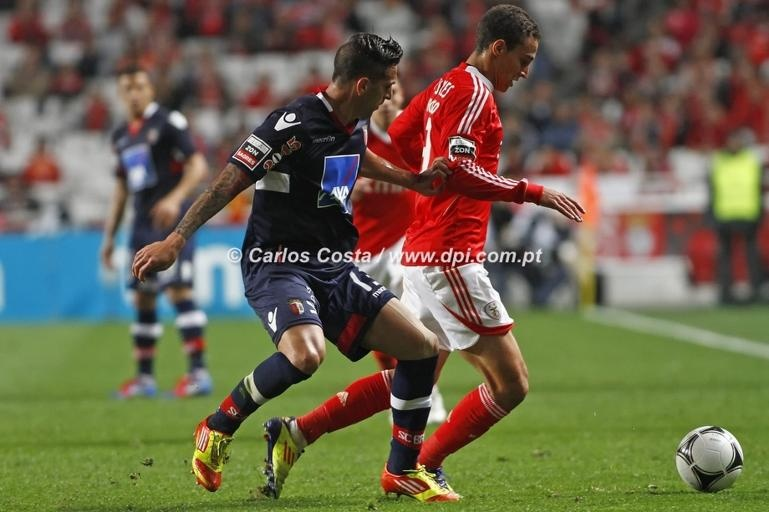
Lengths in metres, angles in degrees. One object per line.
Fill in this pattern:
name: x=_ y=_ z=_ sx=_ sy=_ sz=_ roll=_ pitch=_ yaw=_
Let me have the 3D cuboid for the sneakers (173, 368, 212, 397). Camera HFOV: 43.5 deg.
sneakers: x=-2.082 y=1.386 z=10.525 sx=0.620 sy=0.302 sz=0.233 roll=-8 pitch=-14 yaw=20

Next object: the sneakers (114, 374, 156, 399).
sneakers: x=-2.078 y=1.106 z=8.109 sx=0.283 sy=0.124 sz=0.150 roll=5 pitch=-10 yaw=-22

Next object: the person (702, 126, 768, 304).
person: x=5.447 y=-0.513 z=14.774 sx=0.796 sy=2.531 sz=0.529 roll=3 pitch=9 yaw=20
